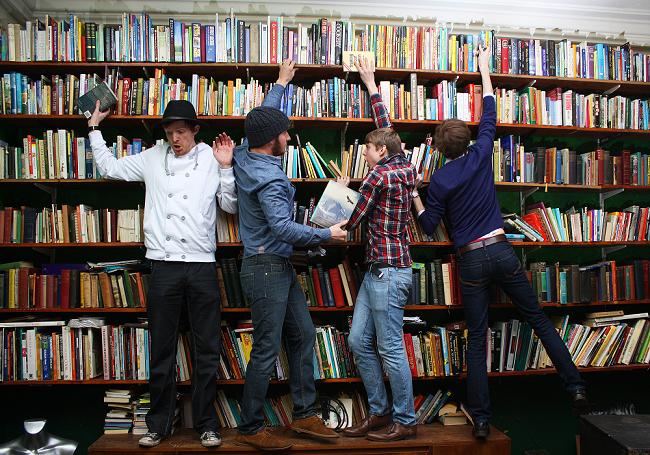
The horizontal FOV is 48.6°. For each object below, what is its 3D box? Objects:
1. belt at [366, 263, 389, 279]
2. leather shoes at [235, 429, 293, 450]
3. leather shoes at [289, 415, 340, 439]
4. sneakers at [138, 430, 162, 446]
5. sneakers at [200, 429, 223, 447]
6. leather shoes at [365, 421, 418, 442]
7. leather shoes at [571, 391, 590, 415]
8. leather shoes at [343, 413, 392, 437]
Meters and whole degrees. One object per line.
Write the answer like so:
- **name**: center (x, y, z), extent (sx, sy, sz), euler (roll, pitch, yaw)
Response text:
- **belt**: center (0.414, 0.348, 5.799), extent (0.115, 0.056, 0.136), euler (15, -12, 37)
- **leather shoes**: center (-0.459, 1.698, 5.686), extent (0.396, 0.128, 0.179), euler (1, -5, -4)
- **leather shoes**: center (-0.092, 1.599, 5.825), extent (0.464, 0.180, 0.158), euler (10, -8, 6)
- **sneakers**: center (-1.382, 1.696, 5.733), extent (0.076, 0.075, 0.201), euler (-2, -12, 16)
- **sneakers**: center (-0.909, 1.690, 5.743), extent (0.179, 0.133, 0.106), euler (-3, 3, 5)
- **leather shoes**: center (0.555, 1.650, 5.786), extent (0.427, 0.163, 0.141), euler (2, -8, -5)
- **leather shoes**: center (2.076, 1.451, 5.906), extent (0.128, 0.148, 0.356), euler (-5, -26, 12)
- **leather shoes**: center (0.354, 1.618, 5.882), extent (0.446, 0.165, 0.146), euler (-3, -3, -4)
